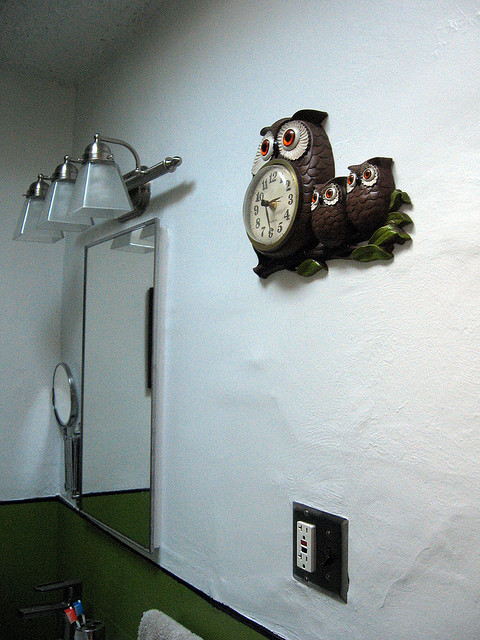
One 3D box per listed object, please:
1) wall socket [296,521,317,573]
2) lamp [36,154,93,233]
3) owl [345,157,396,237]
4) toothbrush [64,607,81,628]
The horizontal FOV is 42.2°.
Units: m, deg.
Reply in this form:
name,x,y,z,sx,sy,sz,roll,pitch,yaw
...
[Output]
name,x,y,z,sx,sy,sz,roll,pitch,yaw
wall socket,0.108,0.365,1.008,0.011,0.074,0.043,2,-4,-34
lamp,-0.422,-0.287,1.479,0.125,0.186,0.141,-4,10,-39
owl,0.183,-0.181,0.905,0.074,0.110,0.044,-4,-5,44
toothbrush,-0.369,0.653,1.371,0.007,0.042,0.024,-49,-26,15
